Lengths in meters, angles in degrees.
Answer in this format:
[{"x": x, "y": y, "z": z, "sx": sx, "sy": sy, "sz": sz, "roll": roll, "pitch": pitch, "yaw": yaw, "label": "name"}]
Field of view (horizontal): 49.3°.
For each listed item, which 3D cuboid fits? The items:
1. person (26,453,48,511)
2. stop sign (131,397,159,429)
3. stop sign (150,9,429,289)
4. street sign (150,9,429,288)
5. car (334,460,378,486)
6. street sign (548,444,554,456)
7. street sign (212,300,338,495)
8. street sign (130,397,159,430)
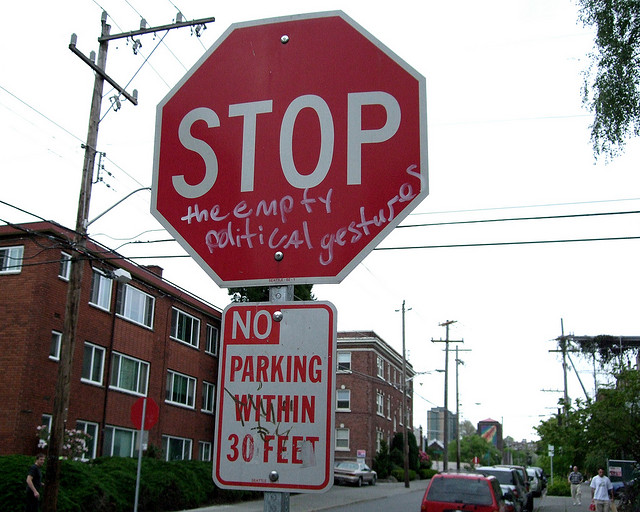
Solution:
[{"x": -6.506, "y": 5.240, "z": 16.077, "sx": 0.473, "sy": 1.240, "sz": 1.635, "roll": 5, "pitch": -16, "yaw": -22, "label": "person"}, {"x": -4.229, "y": 3.854, "z": 16.891, "sx": 0.652, "sy": 0.877, "sz": 0.067, "roll": 7, "pitch": -44, "yaw": -16, "label": "stop sign"}, {"x": -0.142, "y": -0.553, "z": 3.962, "sx": 1.236, "sy": 1.391, "sz": 0.123, "roll": -3, "pitch": -13, "yaw": 8, "label": "stop sign"}, {"x": -0.142, "y": -0.553, "z": 3.963, "sx": 1.239, "sy": 1.438, "sz": 0.112, "roll": -3, "pitch": -13, "yaw": 8, "label": "street sign"}, {"x": 1.895, "y": 13.931, "z": 44.483, "sx": 2.875, "sy": 1.469, "sz": 4.458, "roll": -10, "pitch": -19, "yaw": 32, "label": "car"}, {"x": 13.348, "y": 11.264, "z": 40.292, "sx": 0.284, "sy": 0.568, "sz": 1.142, "roll": -4, "pitch": -16, "yaw": 16, "label": "street sign"}, {"x": -0.246, "y": 0.756, "z": 3.793, "sx": 0.718, "sy": 1.027, "sz": 0.217, "roll": -4, "pitch": -13, "yaw": 16, "label": "street sign"}, {"x": -4.244, "y": 3.864, "z": 16.873, "sx": 0.654, "sy": 0.896, "sz": 0.092, "roll": 8, "pitch": -47, "yaw": -15, "label": "street sign"}]
